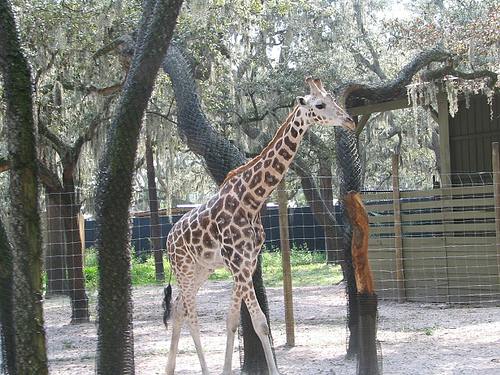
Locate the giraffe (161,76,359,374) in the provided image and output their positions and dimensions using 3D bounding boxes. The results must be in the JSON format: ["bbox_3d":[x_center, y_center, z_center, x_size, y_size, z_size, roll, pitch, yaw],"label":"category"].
[{"bbox_3d":[-0.522,0.938,15.450,2.898,4.631,6.211,-4,-5,-13],"label":"giraffe"}]
